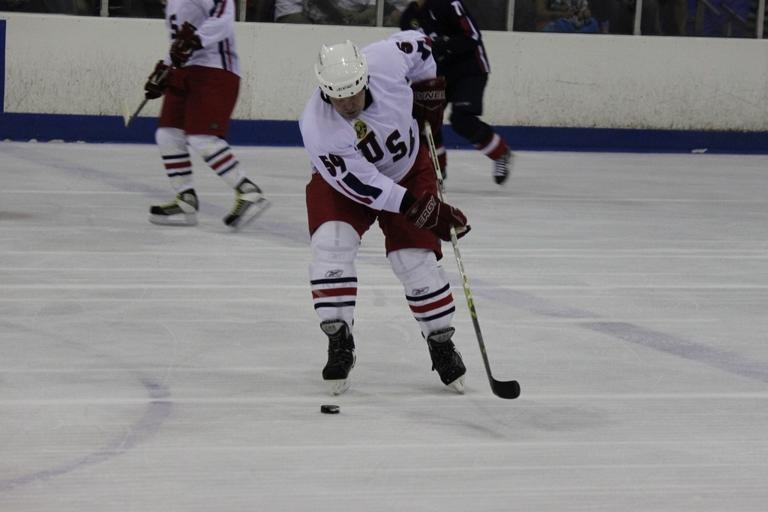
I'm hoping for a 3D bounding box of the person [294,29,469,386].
[{"bbox_3d":[-0.010,-0.230,6.037,0.778,1.596,0.801,-1,16,-10],"label":"person"}]

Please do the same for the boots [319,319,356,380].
[{"bbox_3d":[-0.217,0.438,5.920,0.155,0.293,0.231,1,15,-3],"label":"boots"}]

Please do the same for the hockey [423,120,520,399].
[{"bbox_3d":[0.480,0.027,7.040,0.298,1.733,0.197,-20,-6,28],"label":"hockey"}]

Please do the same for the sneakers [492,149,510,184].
[{"bbox_3d":[0.835,-0.658,9.321,0.103,0.241,0.124,8,14,28],"label":"sneakers"}]

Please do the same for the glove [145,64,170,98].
[{"bbox_3d":[-1.427,-1.097,8.180,0.177,0.211,0.093,28,7,42],"label":"glove"}]

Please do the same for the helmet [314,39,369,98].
[{"bbox_3d":[-0.160,-0.855,5.884,0.234,0.232,0.279,-17,20,7],"label":"helmet"}]

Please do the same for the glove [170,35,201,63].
[{"bbox_3d":[-1.225,-1.283,7.970,0.193,0.181,0.098,0,16,-7],"label":"glove"}]

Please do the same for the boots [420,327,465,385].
[{"bbox_3d":[0.293,0.474,5.980,0.116,0.331,0.164,-24,-13,14],"label":"boots"}]

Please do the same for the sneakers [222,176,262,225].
[{"bbox_3d":[-0.871,-0.336,8.043,0.263,0.315,0.147,0,16,-8],"label":"sneakers"}]

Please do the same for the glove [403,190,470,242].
[{"bbox_3d":[0.232,-0.189,5.933,0.325,0.229,0.179,-1,15,-10],"label":"glove"}]
